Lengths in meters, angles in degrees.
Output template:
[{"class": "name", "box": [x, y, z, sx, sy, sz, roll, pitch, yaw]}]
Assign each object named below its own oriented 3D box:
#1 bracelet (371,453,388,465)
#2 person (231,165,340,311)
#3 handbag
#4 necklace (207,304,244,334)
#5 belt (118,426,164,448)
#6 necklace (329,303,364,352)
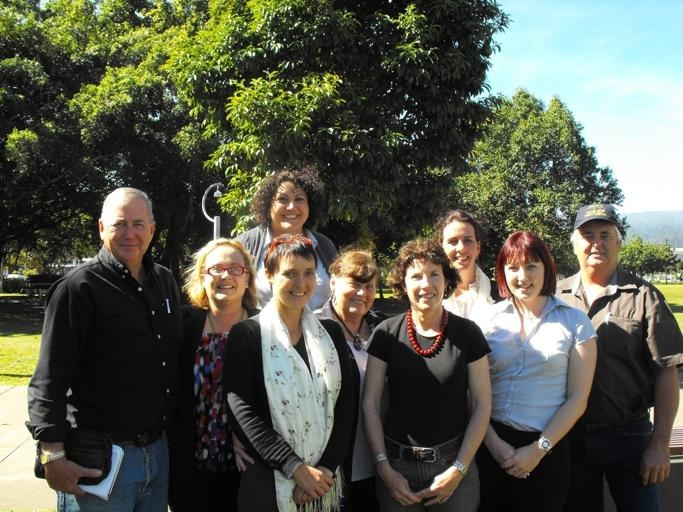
[{"class": "bracelet", "box": [0.293, 1.556, 4.652, 0.094, 0.065, 0.097, -35, -14, 28]}, {"class": "person", "box": [-0.539, -0.105, 6.043, 1.106, 1.581, 0.802, 3, -11, -16]}, {"class": "handbag", "box": [-1.926, 1.395, 4.369, 0.421, 0.434, 0.433, 1, 1, 17]}, {"class": "necklace", "box": [-0.988, 0.556, 4.983, 0.172, 0.184, 0.231, 5, 34, 0]}, {"class": "belt", "box": [-1.550, 1.370, 4.533, 0.187, 0.064, 0.197, 0, 2, -2]}, {"class": "necklace", "box": [0.056, 0.620, 5.169, 0.247, 0.370, 0.366, 1, -9, -9]}]
